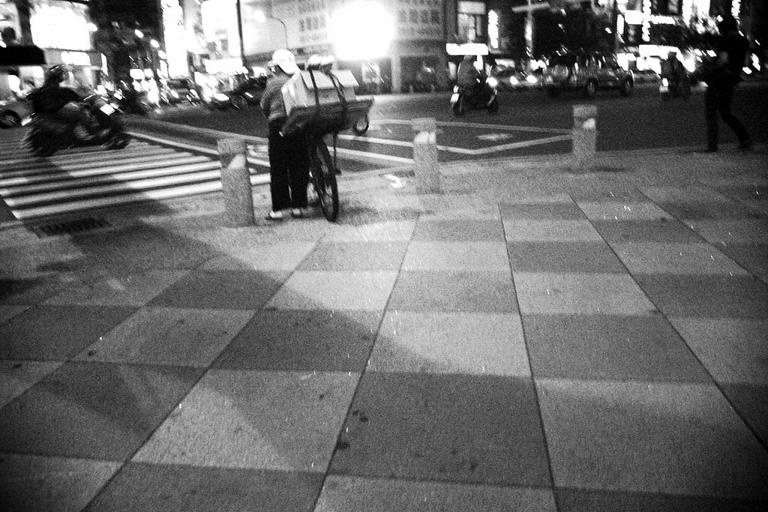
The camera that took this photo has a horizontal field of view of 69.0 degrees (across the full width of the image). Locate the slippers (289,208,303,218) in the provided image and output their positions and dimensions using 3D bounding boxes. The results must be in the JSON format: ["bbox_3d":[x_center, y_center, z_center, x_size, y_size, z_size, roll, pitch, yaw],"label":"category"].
[{"bbox_3d":[-1.262,-0.656,8.146,0.140,0.140,0.124,-2,8,-11],"label":"slippers"}]

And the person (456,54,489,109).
[{"bbox_3d":[3.150,-6.794,21.568,0.951,1.409,2.457,6,40,26],"label":"person"}]

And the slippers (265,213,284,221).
[{"bbox_3d":[-1.574,-0.581,8.059,0.187,0.089,0.120,8,15,23],"label":"slippers"}]

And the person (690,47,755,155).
[{"bbox_3d":[6.981,-3.237,11.598,1.137,2.093,0.869,-9,20,-19],"label":"person"}]
